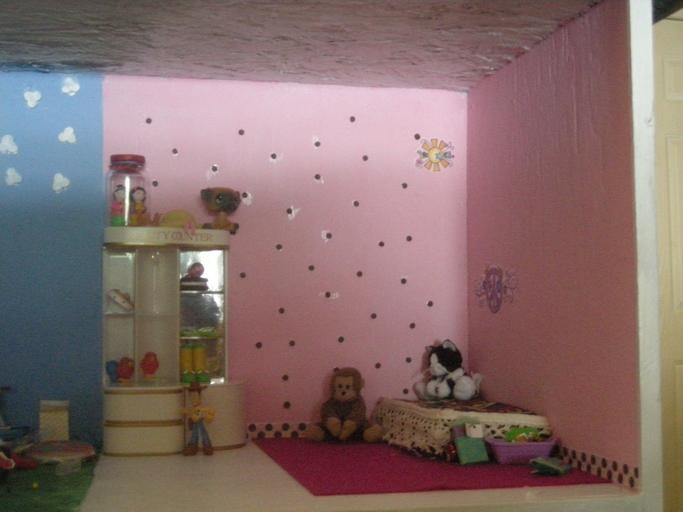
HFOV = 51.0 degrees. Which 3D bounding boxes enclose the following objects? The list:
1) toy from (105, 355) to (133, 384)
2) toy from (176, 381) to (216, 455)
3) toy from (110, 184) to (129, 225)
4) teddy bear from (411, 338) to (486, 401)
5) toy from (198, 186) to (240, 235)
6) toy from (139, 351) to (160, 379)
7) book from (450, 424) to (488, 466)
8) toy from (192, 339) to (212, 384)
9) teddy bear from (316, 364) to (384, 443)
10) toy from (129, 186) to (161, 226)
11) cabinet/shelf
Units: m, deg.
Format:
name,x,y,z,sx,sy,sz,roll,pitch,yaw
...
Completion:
name,x,y,z,sx,sy,sz,roll,pitch,yaw
toy,-1.777,0.921,5.721,0.222,0.212,0.160,5,-4,-5
toy,-1.127,1.284,5.633,0.253,0.504,0.315,-5,11,-10
toy,-1.813,-0.421,5.820,0.129,0.318,0.162,-5,11,-12
teddy bear,0.980,1.045,6.391,0.501,0.531,0.665,10,-15,-31
toy,-1.039,-0.402,6.193,0.365,0.422,0.283,1,-2,-21
toy,-1.553,0.893,5.822,0.158,0.206,0.116,-6,12,-18
book,0.939,1.390,5.247,0.241,0.338,0.094,8,-45,-8
toy,-1.185,0.876,5.927,0.125,0.322,0.130,-1,-3,29
teddy bear,0.047,1.254,6.105,0.645,0.634,0.524,0,-13,2
toy,-1.624,-0.404,5.848,0.240,0.312,0.176,-8,12,-25
cabinet/shelf,-1.334,0.661,5.850,1.165,1.765,0.633,0,-2,-16
